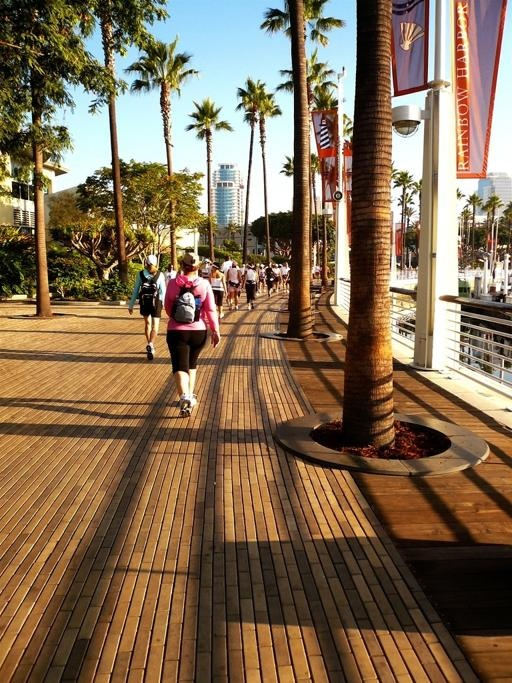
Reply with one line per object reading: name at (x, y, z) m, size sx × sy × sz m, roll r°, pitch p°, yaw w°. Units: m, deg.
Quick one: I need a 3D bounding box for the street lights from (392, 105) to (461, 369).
street lights at (3.193, -1.844, 8.609) m, size 0.689 × 4.736 × 0.787 m, roll 0°, pitch 4°, yaw 18°

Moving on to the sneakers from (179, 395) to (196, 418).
sneakers at (-0.857, 0.793, 6.161) m, size 0.174 × 0.311 × 0.294 m, roll 2°, pitch 8°, yaw -13°

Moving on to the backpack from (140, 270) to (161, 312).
backpack at (-2.178, -1.052, 10.145) m, size 0.522 × 0.843 × 0.486 m, roll -2°, pitch 14°, yaw -21°

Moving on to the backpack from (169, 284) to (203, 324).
backpack at (-0.874, -0.445, 5.986) m, size 0.352 × 0.471 × 0.186 m, roll -1°, pitch 4°, yaw -12°

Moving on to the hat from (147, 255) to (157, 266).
hat at (-2.071, -1.601, 9.604) m, size 0.203 × 0.221 × 0.216 m, roll 6°, pitch -6°, yaw 3°
